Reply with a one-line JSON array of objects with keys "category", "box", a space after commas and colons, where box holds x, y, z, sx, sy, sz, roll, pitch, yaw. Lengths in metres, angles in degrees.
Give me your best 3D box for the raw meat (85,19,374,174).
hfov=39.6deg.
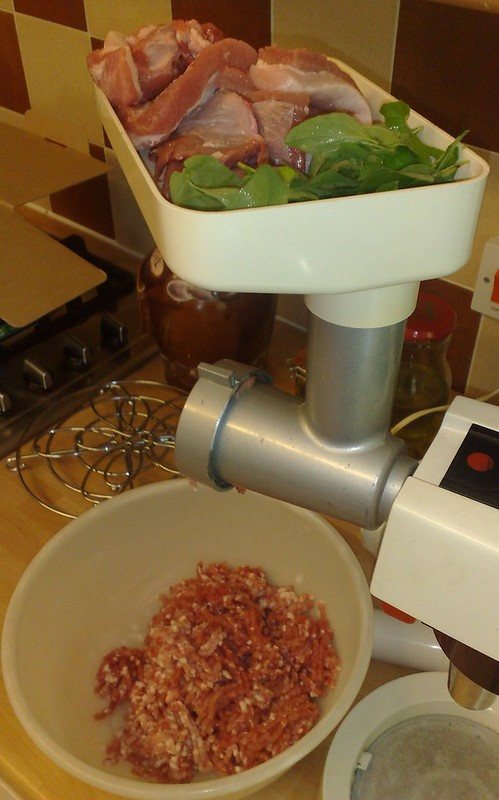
[{"category": "raw meat", "box": [-0.015, -0.177, 0.421, 0.153, 0.050, 0.103, 3, 85, -9]}]
